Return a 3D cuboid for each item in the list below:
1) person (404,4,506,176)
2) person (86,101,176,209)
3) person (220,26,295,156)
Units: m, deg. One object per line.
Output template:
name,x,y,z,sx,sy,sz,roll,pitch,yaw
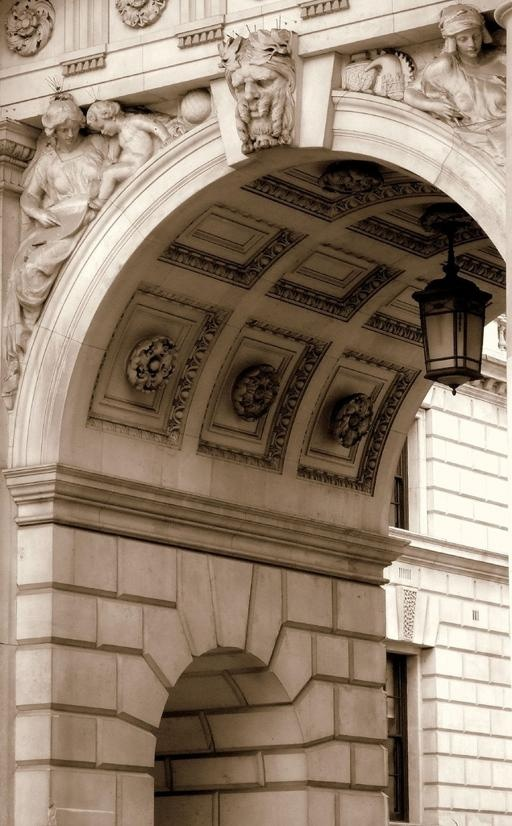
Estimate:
person,1.356,-1.991,11.282,0.407,0.994,0.743,5,-27,-17
person,-0.996,-1.881,13.382,0.635,0.810,0.295,31,21,36
person,0.072,-2.265,12.310,0.567,0.780,0.452,-16,-29,24
